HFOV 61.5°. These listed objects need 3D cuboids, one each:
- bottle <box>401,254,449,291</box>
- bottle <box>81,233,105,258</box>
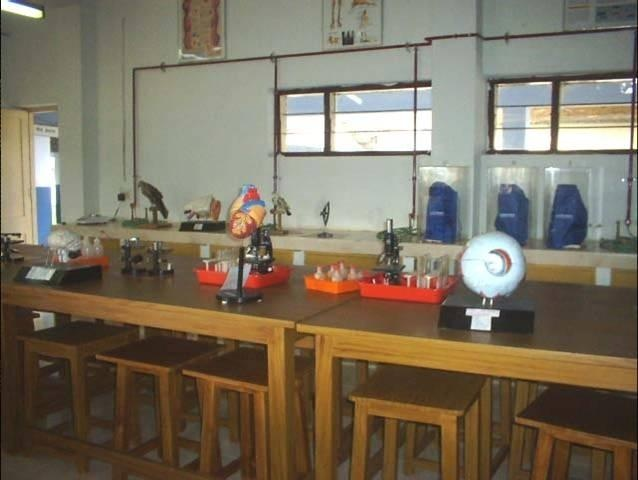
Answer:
[{"bbox_3d":[0.523,0.170,2.717,0.235,0.157,0.237,-1,6,0],"label":"bottle"},{"bbox_3d":[-1.652,0.036,3.937,0.110,0.215,0.197,2,1,38],"label":"bottle"}]
